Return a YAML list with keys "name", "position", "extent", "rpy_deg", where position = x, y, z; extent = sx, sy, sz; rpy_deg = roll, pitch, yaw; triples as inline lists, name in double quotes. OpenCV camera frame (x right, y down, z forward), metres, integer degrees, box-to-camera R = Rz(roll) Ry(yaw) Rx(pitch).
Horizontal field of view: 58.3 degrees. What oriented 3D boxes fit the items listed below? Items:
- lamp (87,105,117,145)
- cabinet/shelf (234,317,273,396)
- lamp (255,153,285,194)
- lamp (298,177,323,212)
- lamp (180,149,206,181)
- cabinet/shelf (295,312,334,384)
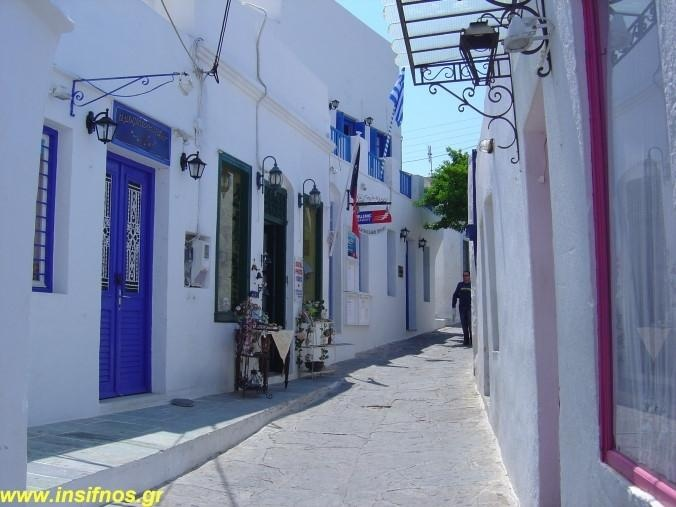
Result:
- name: "lamp"
  position: [-2.697, -1.450, 6.852]
  extent: [0.310, 0.607, 0.256]
  rpy_deg: [0, 4, 3]
- name: "cabinet/shelf"
  position: [-1.297, 1.570, 9.192]
  extent: [0.547, 1.158, 0.736]
  rpy_deg: [0, -2, -11]
- name: "lamp"
  position: [-1.210, -1.460, 10.738]
  extent: [0.422, 0.728, 0.770]
  rpy_deg: [0, -2, -3]
- name: "lamp"
  position: [-0.577, -1.264, 12.478]
  extent: [0.422, 0.716, 0.919]
  rpy_deg: [0, -2, 1]
- name: "lamp"
  position: [-2.019, -1.253, 8.401]
  extent: [0.295, 0.558, 0.298]
  rpy_deg: [0, 1, 12]
- name: "cabinet/shelf"
  position: [-0.496, 1.826, 11.790]
  extent: [0.295, 1.132, 1.016]
  rpy_deg: [-2, -8, 21]
